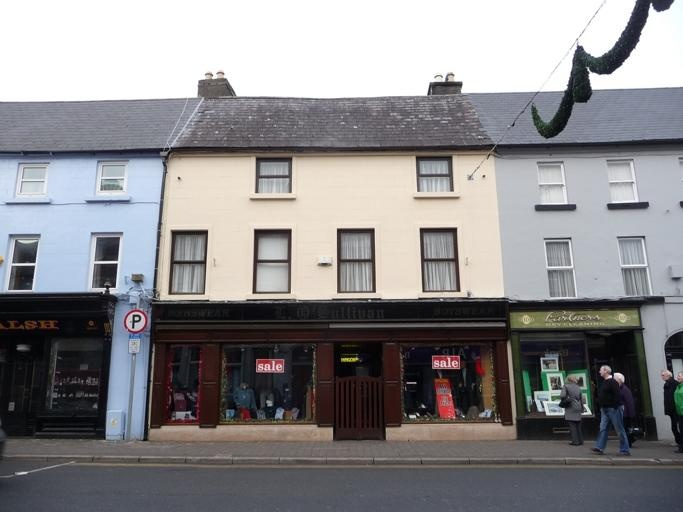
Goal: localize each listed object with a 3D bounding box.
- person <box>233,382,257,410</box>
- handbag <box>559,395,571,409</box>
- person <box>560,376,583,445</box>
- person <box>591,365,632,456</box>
[{"bbox_3d":[-2.960,4.307,18.487,0.616,0.801,0.144,1,-6,-10],"label":"person"},{"bbox_3d":[6.211,4.069,16.678,0.312,0.320,0.197,-1,-6,11],"label":"handbag"},{"bbox_3d":[6.423,4.305,16.824,0.538,1.902,0.722,-3,-7,23],"label":"person"},{"bbox_3d":[6.898,3.941,15.457,0.809,2.215,1.128,-3,-7,24],"label":"person"}]
